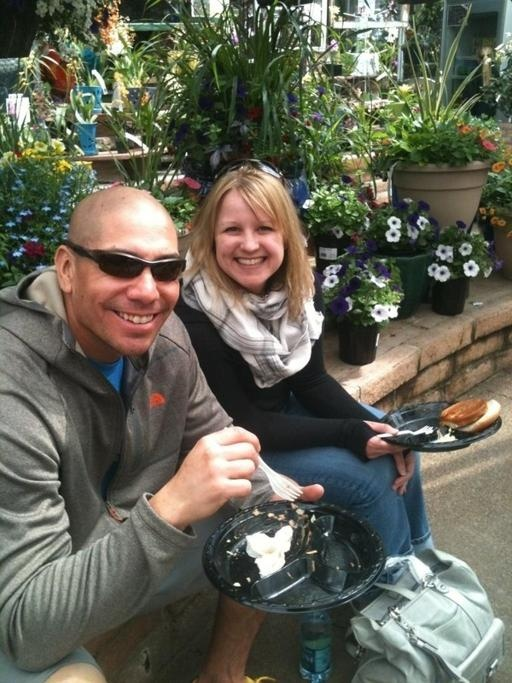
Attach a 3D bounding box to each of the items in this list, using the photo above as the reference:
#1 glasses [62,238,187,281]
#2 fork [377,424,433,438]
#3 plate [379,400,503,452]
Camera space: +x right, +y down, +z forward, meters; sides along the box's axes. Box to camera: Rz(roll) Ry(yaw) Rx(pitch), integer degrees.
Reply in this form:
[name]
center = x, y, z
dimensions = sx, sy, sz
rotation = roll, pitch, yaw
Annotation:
[glasses]
center = -0.265, -0.163, 1.235
dimensions = 0.214, 0.095, 0.081
rotation = -8, 19, -15
[fork]
center = 0.500, 0.310, 1.985
dimensions = 0.209, 0.016, 0.064
rotation = -2, 20, -17
[plate]
center = 0.606, 0.288, 1.997
dimensions = 0.294, 0.052, 0.286
rotation = -17, 9, -42
